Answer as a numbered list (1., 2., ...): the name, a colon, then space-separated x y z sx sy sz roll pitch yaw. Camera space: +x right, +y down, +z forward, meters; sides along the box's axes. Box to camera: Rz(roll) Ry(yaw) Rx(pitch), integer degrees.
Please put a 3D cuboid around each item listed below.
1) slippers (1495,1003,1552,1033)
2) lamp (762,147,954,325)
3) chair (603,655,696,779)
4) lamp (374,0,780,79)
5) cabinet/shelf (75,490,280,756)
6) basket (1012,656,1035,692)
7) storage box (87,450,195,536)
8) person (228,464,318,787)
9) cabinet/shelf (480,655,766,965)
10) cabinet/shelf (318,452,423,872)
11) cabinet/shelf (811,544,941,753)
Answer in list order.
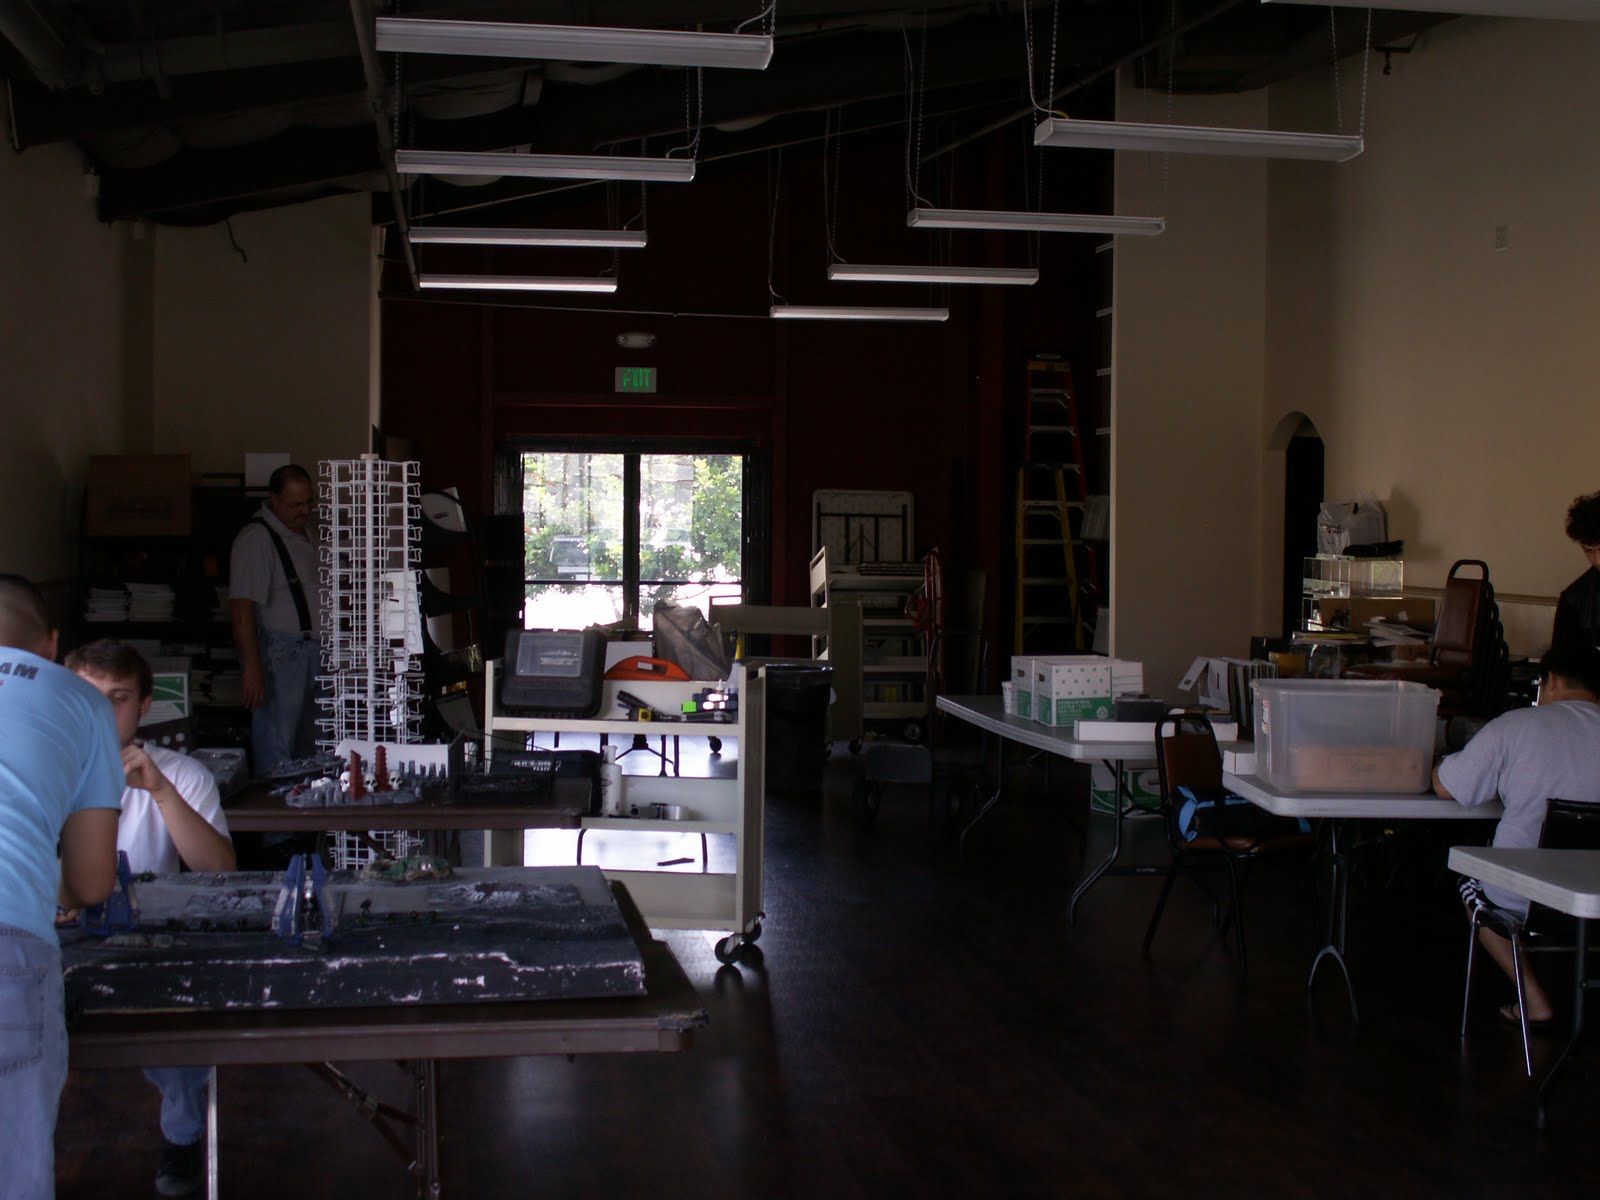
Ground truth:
1. slippers: 2.935 1.679 6.020 0.265 0.124 0.152 -10 -9 30
2. lamp: 0.523 -3.074 11.656 1.748 1.802 0.430 0 2 -12
3. chair: -0.721 0.520 7.006 0.373 0.536 0.301 6 8 -6
4. lamp: -0.933 -2.319 6.161 1.609 0.199 0.478 0 6 -3
5. cabinet/shelf: -3.573 0.070 8.888 0.924 1.886 1.062 0 0 24
6. basket: 1.265 0.400 8.190 0.131 0.193 0.184 4 -5 -24
7. storage box: -3.807 -0.578 8.637 0.470 0.399 0.503 0 -2 -9
8. person: -2.666 0.189 7.591 0.412 1.371 0.265 -2 6 -21
9. cabinet/shelf: -0.736 0.870 6.335 1.255 1.398 0.525 0 0 -1
10. cabinet/shelf: -1.853 0.247 6.486 0.418 1.657 0.324 4 3 8
11. cabinet/shelf: 0.572 0.365 11.850 0.950 1.508 1.466 2 6 21
